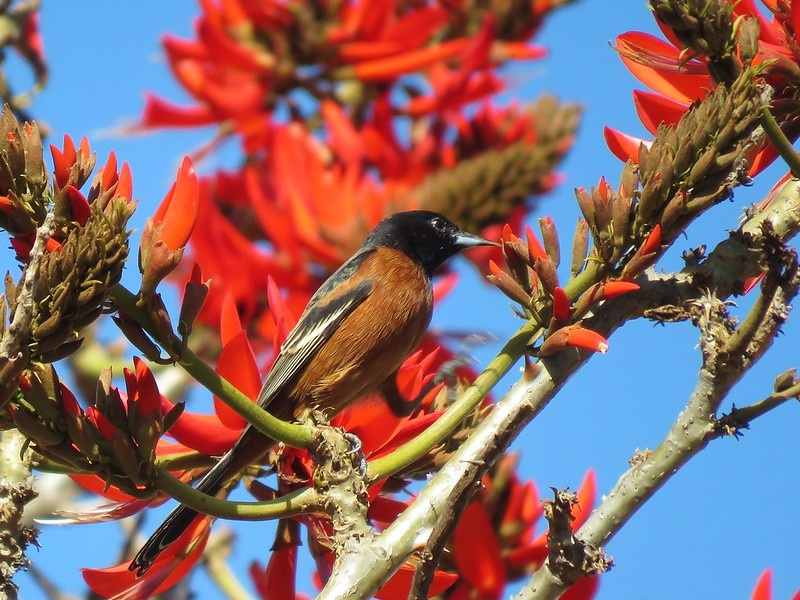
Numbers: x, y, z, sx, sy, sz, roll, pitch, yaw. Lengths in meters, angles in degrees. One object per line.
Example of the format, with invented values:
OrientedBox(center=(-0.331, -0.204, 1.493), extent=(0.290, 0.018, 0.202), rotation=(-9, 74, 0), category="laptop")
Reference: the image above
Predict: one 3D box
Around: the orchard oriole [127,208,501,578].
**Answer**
OrientedBox(center=(-0.209, 0.163, 2.790), extent=(1.018, 0.479, 0.285), rotation=(-27, -41, 18), category="orchard oriole")
